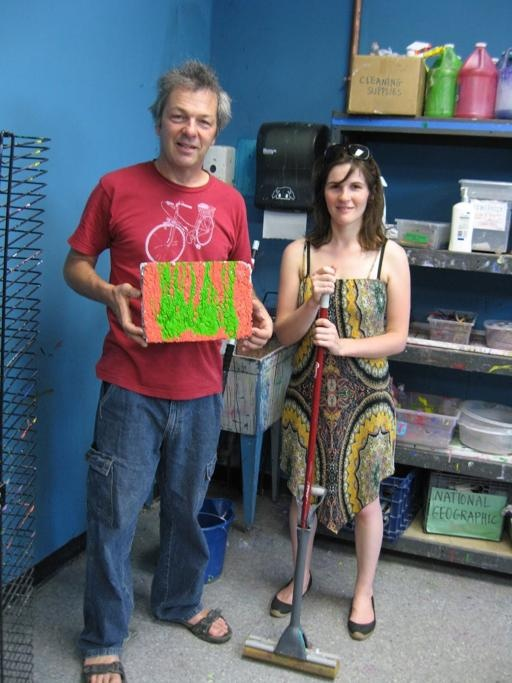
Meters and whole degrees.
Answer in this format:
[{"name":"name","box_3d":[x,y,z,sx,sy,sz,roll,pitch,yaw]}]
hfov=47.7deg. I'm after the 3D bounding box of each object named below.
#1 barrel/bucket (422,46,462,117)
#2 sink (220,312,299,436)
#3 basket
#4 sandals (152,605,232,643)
[{"name":"barrel/bucket","box_3d":[0.664,-0.916,2.094,0.127,0.263,0.128,-2,20,1]},{"name":"sink","box_3d":[0.011,0.171,2.245,0.308,0.411,0.557,5,6,27]},{"name":"basket","box_3d":[0.549,0.621,2.348,0.268,0.265,0.301,-7,25,-44]},{"name":"sandals","box_3d":[-0.161,0.845,1.746,0.178,0.043,0.083,0,4,33]}]
